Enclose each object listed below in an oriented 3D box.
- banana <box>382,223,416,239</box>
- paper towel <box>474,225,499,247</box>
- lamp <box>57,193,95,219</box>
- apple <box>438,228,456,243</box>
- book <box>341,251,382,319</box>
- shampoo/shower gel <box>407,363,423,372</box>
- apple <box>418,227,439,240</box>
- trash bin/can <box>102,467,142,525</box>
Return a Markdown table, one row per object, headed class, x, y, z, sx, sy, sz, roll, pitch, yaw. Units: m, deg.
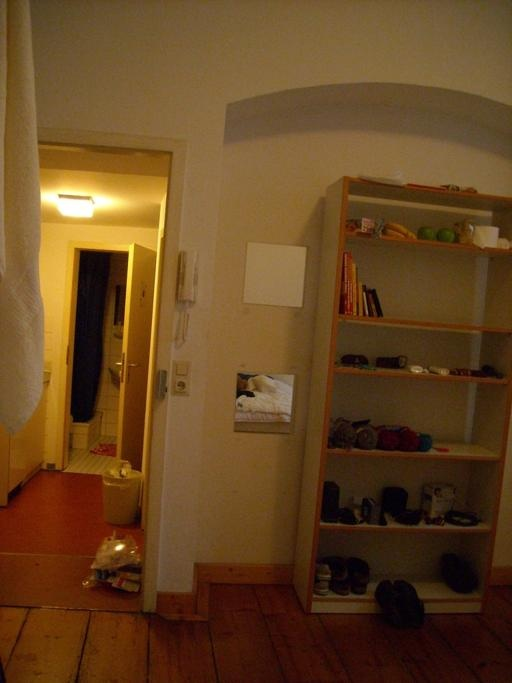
| class | x | y | z | sx | sy | sz | roll | pitch | yaw |
| --- | --- | --- | --- | --- | --- | --- | --- | --- | --- |
| banana | 0.632 | -0.472 | 2.572 | 0.140 | 0.052 | 0.070 | 20 | -4 | -32 |
| paper towel | 1.023 | -0.467 | 2.593 | 0.097 | 0.097 | 0.090 | 3 | 3 | 29 |
| lamp | -1.166 | -0.888 | 3.772 | 0.161 | 0.044 | 0.180 | -3 | -15 | 5 |
| apple | 0.848 | -0.469 | 2.609 | 0.077 | 0.080 | 0.076 | 4 | -3 | 16 |
| book | 0.457 | -0.242 | 2.536 | 0.197 | 0.273 | 0.112 | 3 | 4 | 1 |
| shampoo/shower gel | 0.716 | 0.119 | 2.634 | 0.043 | 0.027 | 0.076 | -1 | 6 | -1 |
| apple | 0.755 | -0.472 | 2.571 | 0.077 | 0.066 | 0.091 | 4 | 5 | 2 |
| trash bin/can | -0.797 | 0.948 | 3.687 | 0.296 | 0.333 | 0.289 | 3 | -2 | 8 |
